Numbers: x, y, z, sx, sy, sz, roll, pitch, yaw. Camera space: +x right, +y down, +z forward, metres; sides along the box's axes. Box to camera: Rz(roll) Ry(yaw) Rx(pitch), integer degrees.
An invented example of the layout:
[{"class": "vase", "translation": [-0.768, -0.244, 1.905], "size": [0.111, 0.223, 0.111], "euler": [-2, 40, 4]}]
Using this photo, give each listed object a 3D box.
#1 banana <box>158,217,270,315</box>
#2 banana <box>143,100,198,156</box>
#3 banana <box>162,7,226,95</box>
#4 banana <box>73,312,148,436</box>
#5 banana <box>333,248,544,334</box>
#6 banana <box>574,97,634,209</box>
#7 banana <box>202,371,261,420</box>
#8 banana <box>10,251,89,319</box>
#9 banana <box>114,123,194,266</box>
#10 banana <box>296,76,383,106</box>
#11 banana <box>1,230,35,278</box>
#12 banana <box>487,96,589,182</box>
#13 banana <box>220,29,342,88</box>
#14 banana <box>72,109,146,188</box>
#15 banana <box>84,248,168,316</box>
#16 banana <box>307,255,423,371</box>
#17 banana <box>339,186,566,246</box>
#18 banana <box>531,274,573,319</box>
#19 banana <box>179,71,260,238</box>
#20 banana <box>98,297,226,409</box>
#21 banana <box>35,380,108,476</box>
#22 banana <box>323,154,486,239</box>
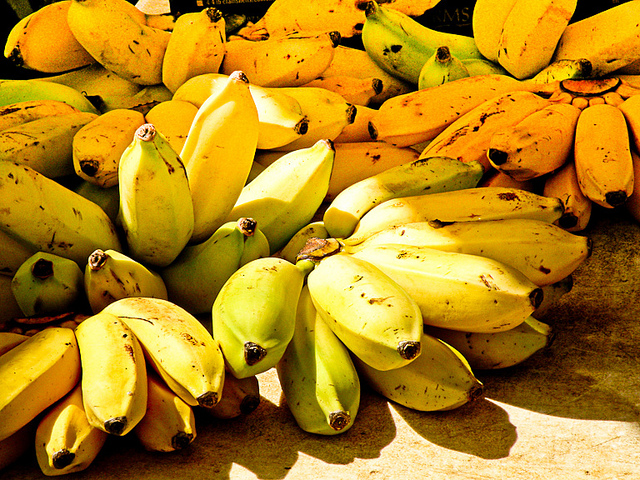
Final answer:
[{"class": "banana", "translation": [-0.222, 0.061, 1.344], "size": [0.269, 0.145, 0.156], "euler": [-22, 78, 26]}, {"class": "banana", "translation": [-0.365, -0.294, 1.502], "size": [0.143, 0.090, 0.160], "euler": [4, 40, -4]}, {"class": "banana", "translation": [-0.347, -0.516, 1.722], "size": [0.248, 0.139, 0.143], "euler": [-55, 25, 10]}, {"class": "banana", "translation": [-0.381, 0.234, 1.094], "size": [0.108, 0.095, 0.273], "euler": [-7, 43, -23]}, {"class": "banana", "translation": [0.248, 0.088, 1.241], "size": [0.441, 0.128, 0.130], "euler": [12, 48, 39]}, {"class": "banana", "translation": [0.677, -0.200, 1.447], "size": [0.137, 0.100, 0.324], "euler": [-3, 48, 12]}, {"class": "banana", "translation": [-0.165, 0.300, 1.162], "size": [0.107, 0.081, 0.061], "euler": [-8, 57, -7]}, {"class": "banana", "translation": [-0.518, 0.088, 1.158], "size": [0.138, 0.128, 0.120], "euler": [-7, 86, -3]}, {"class": "banana", "translation": [-0.336, -0.091, 1.275], "size": [0.150, 0.271, 0.152], "euler": [23, 25, 29]}, {"class": "banana", "translation": [0.078, -0.451, 1.856], "size": [0.289, 0.090, 0.095], "euler": [1, 78, 10]}, {"class": "banana", "translation": [-0.624, 0.030, 1.228], "size": [0.040, 0.140, 0.045], "euler": [-4, 73, -9]}, {"class": "banana", "translation": [0.536, -0.252, 1.511], "size": [0.277, 0.101, 0.132], "euler": [-27, 14, -36]}, {"class": "banana", "translation": [-0.121, -0.544, 1.826], "size": [0.488, 0.175, 0.178], "euler": [18, 29, 39]}, {"class": "banana", "translation": [-0.523, -0.244, 1.511], "size": [0.146, 0.138, 0.262], "euler": [12, 40, -7]}, {"class": "banana", "translation": [-0.382, 0.077, 1.241], "size": [0.106, 0.167, 0.099], "euler": [-48, 29, 3]}, {"class": "banana", "translation": [0.108, 0.143, 1.196], "size": [0.138, 0.113, 0.254], "euler": [-49, 56, -1]}, {"class": "banana", "translation": [0.275, -0.047, 1.300], "size": [0.332, 0.074, 0.083], "euler": [-12, 88, 9]}, {"class": "banana", "translation": [0.493, 0.121, 1.299], "size": [0.115, 0.040, 0.030], "euler": [-38, 47, -4]}, {"class": "banana", "translation": [-0.214, -0.180, 1.356], "size": [0.130, 0.124, 0.381], "euler": [22, 88, 5]}, {"class": "banana", "translation": [-0.287, 0.193, 1.124], "size": [0.137, 0.091, 0.269], "euler": [-31, 60, -25]}, {"class": "banana", "translation": [-0.450, 0.338, 1.070], "size": [0.114, 0.078, 0.136], "euler": [-26, 54, -21]}, {"class": "banana", "translation": [0.204, -0.078, 1.424], "size": [0.415, 0.144, 0.107], "euler": [-21, 26, -24]}]
